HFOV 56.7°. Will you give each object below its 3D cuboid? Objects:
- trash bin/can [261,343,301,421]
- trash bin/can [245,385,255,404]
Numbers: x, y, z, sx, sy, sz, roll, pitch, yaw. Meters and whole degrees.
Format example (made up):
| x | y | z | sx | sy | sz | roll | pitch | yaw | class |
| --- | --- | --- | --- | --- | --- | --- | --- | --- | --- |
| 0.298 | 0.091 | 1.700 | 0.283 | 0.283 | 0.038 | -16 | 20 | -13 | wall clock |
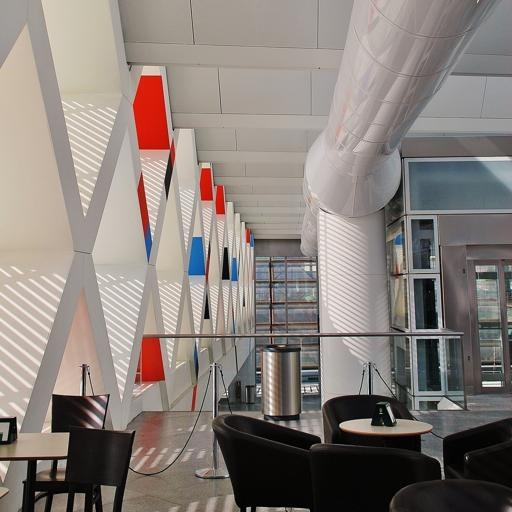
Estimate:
| x | y | z | sx | sy | sz | roll | pitch | yaw | class |
| --- | --- | --- | --- | --- | --- | --- | --- | --- | --- |
| 0.350 | 1.627 | 6.257 | 0.477 | 0.983 | 0.519 | -2 | 5 | -10 | trash bin/can |
| -0.060 | 1.664 | 5.690 | 0.101 | 0.211 | 0.109 | 1 | 5 | 0 | trash bin/can |
